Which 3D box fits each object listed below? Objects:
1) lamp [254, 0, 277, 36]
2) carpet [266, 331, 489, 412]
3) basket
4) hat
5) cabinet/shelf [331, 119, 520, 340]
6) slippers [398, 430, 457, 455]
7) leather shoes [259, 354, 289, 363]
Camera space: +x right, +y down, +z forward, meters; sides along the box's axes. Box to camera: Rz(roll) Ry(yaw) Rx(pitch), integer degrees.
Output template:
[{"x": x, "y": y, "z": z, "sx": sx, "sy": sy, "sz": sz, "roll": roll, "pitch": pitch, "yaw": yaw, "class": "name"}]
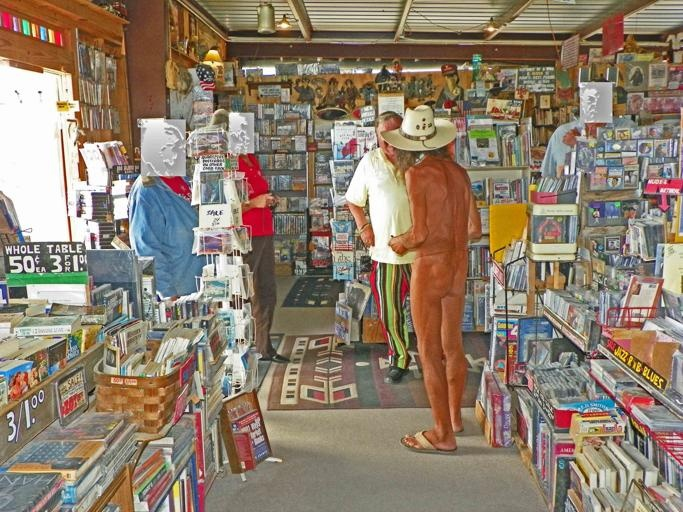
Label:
[{"x": -1.235, "y": -3.977, "z": 8.844, "sx": 0.263, "sy": 0.598, "sz": 0.620, "roll": -3, "pitch": 11, "yaw": -9, "class": "lamp"}, {"x": 0.212, "y": 1.064, "z": 5.378, "sx": 2.176, "sy": 0.011, "sz": 2.303, "roll": 2, "pitch": 11, "yaw": 14, "class": "carpet"}, {"x": -0.882, "y": 0.610, "z": 2.503, "sx": 0.348, "sy": 0.245, "sz": 0.524, "roll": 2, "pitch": 4, "yaw": 7, "class": "basket"}, {"x": 0.530, "y": -0.927, "z": 3.707, "sx": 0.515, "sy": 0.223, "sz": 0.589, "roll": 1, "pitch": 29, "yaw": 2, "class": "hat"}, {"x": 0.362, "y": -0.353, "z": 4.773, "sx": 1.345, "sy": 1.968, "sz": 0.514, "roll": 3, "pitch": 7, "yaw": 12, "class": "cabinet/shelf"}, {"x": 0.582, "y": 1.293, "z": 3.701, "sx": 0.290, "sy": 0.075, "sz": 0.154, "roll": 2, "pitch": 4, "yaw": 5, "class": "slippers"}, {"x": -0.667, "y": 1.032, "z": 5.349, "sx": 0.291, "sy": 0.083, "sz": 0.107, "roll": -1, "pitch": 1, "yaw": 5, "class": "leather shoes"}]
